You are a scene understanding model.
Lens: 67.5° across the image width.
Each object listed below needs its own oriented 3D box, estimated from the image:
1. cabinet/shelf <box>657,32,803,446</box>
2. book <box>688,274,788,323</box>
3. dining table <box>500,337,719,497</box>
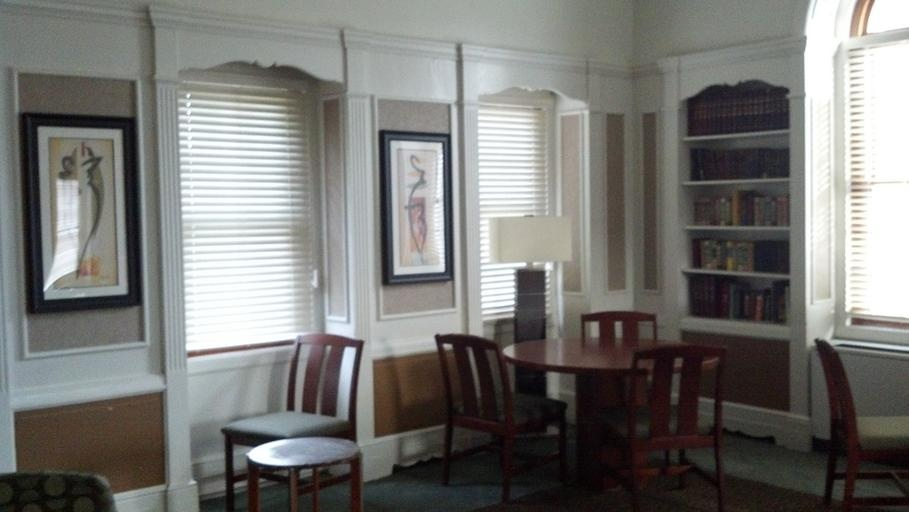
[{"bbox_3d":[2.983,-0.159,7.156,1.532,4.007,0.834,2,8,33],"label":"cabinet/shelf"},{"bbox_3d":[3.010,0.465,7.200,1.120,0.408,0.500,-1,-11,32],"label":"book"},{"bbox_3d":[1.339,1.397,6.041,1.599,0.885,1.586,4,6,35],"label":"dining table"}]
